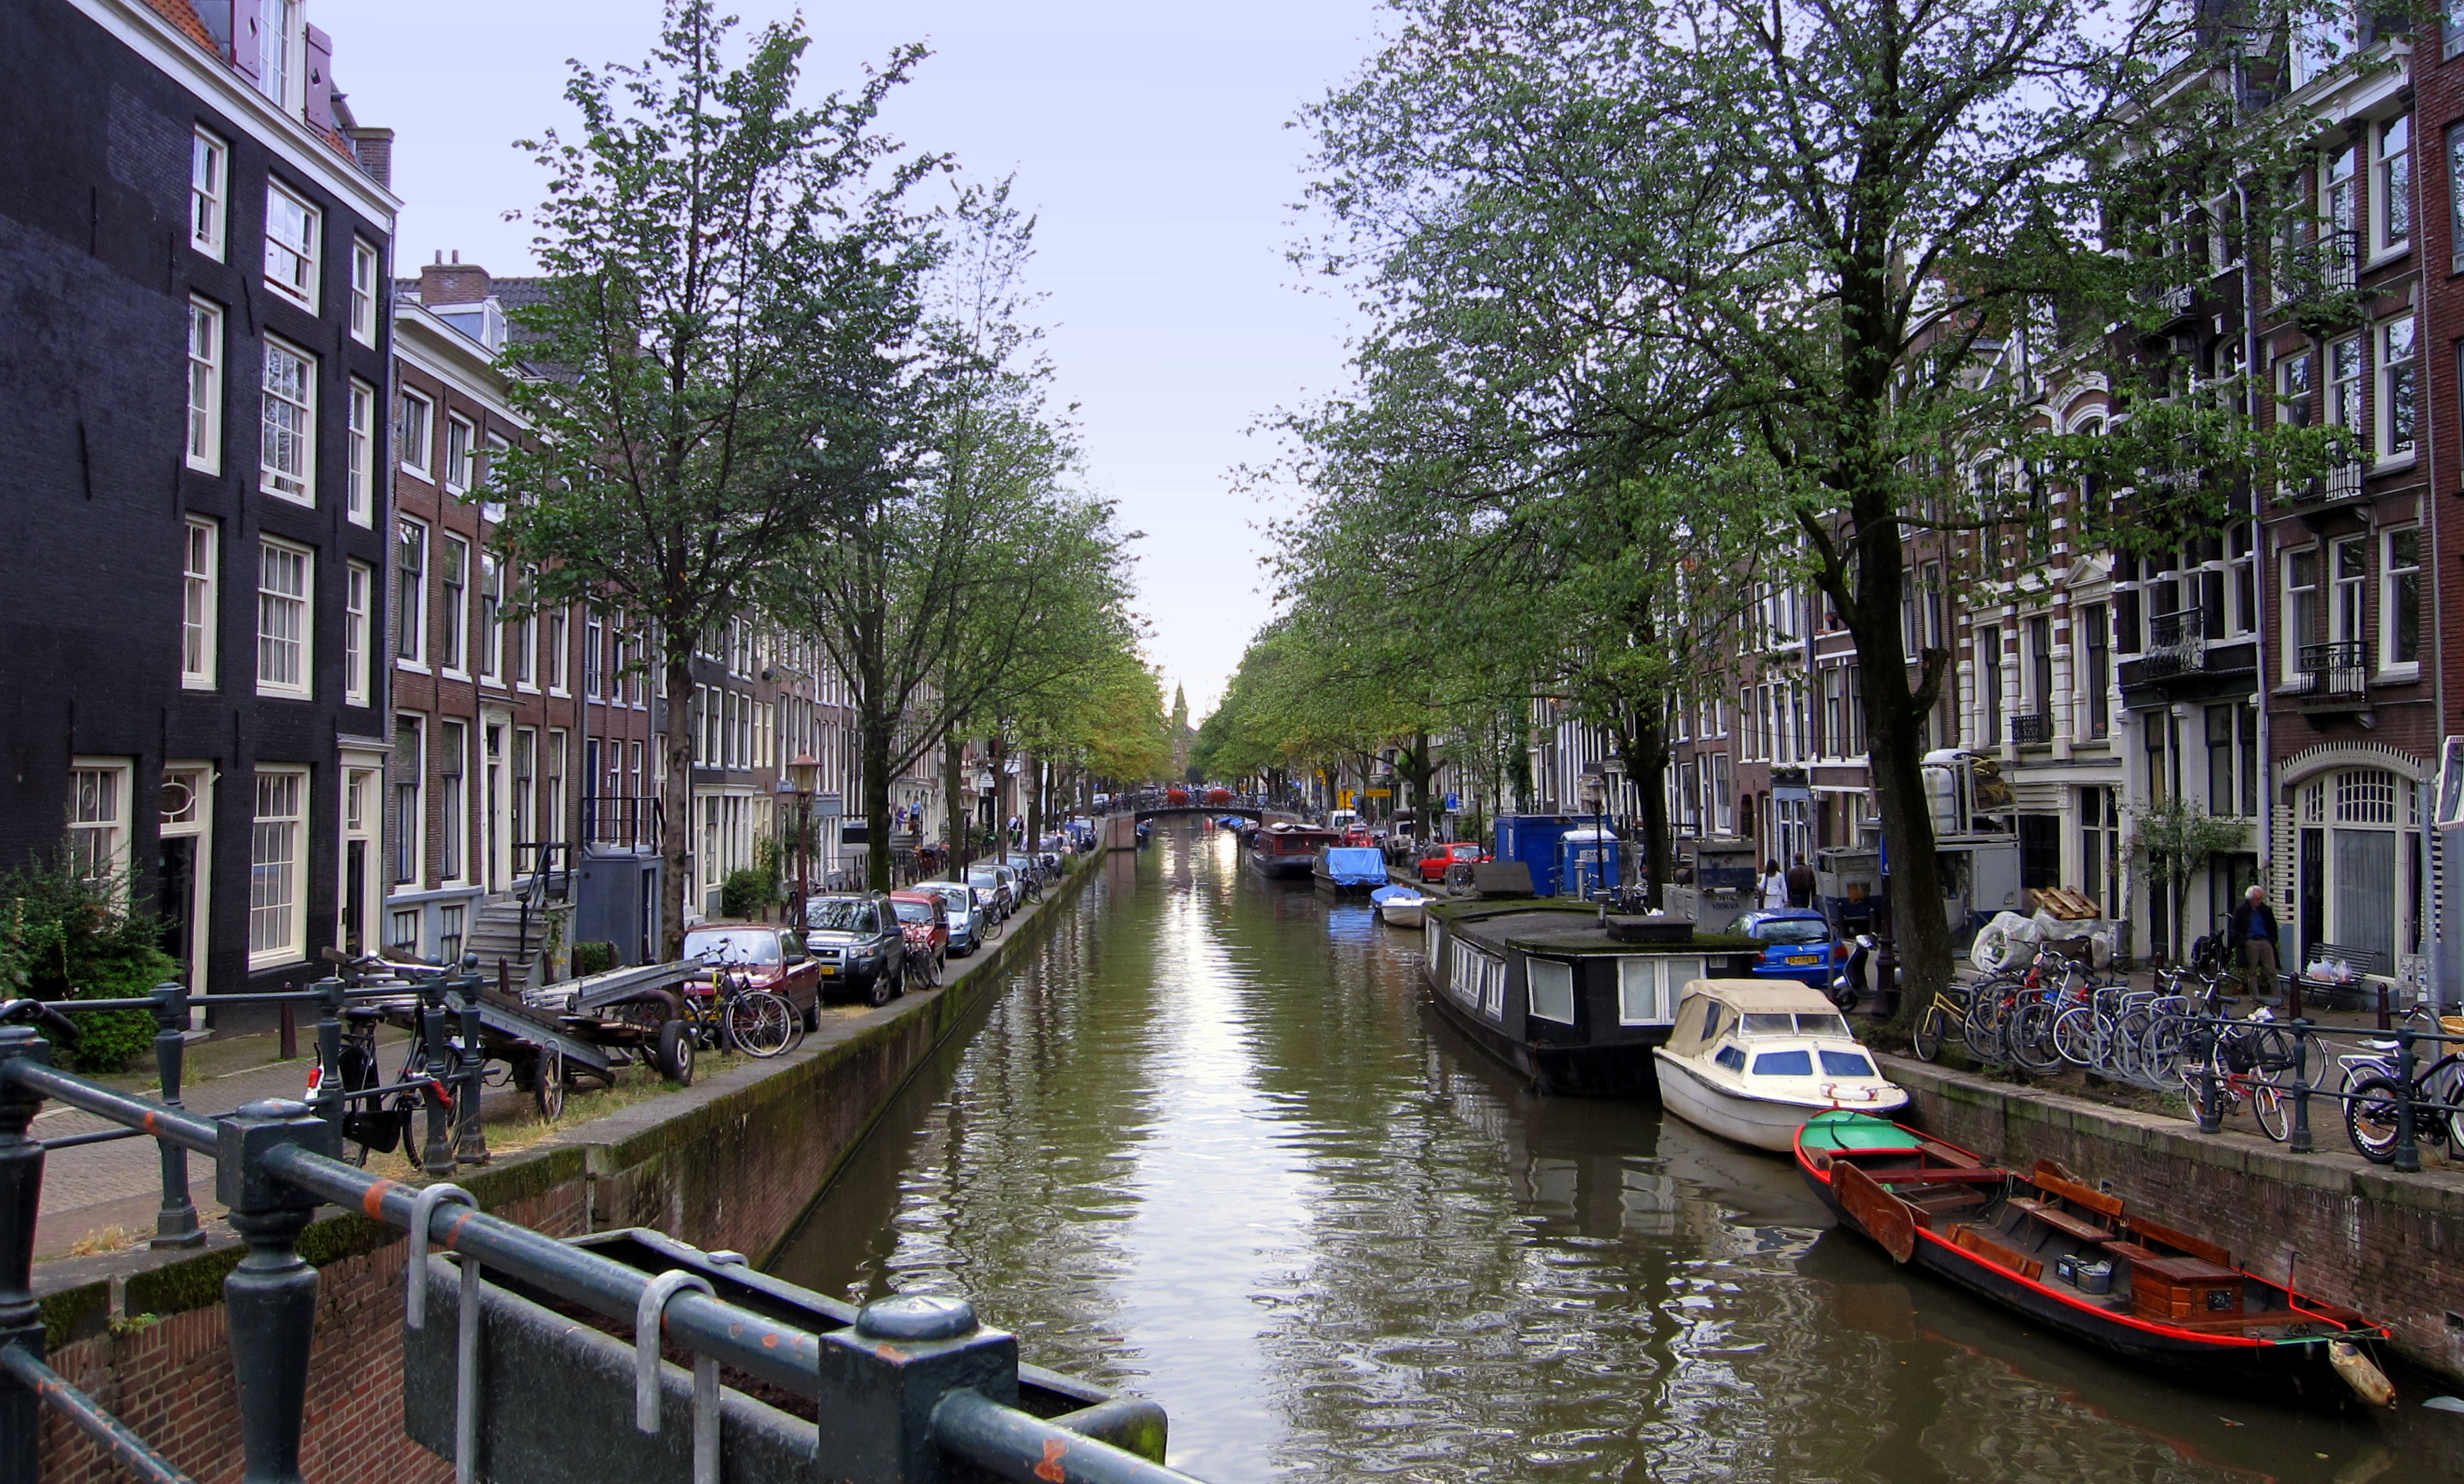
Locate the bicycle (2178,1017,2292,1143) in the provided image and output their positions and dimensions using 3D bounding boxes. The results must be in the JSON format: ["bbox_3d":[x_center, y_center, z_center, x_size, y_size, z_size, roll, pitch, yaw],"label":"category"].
[{"bbox_3d":[12.573,4.074,24.186,0.935,1.121,1.864,1,-9,-4],"label":"bicycle"}]
